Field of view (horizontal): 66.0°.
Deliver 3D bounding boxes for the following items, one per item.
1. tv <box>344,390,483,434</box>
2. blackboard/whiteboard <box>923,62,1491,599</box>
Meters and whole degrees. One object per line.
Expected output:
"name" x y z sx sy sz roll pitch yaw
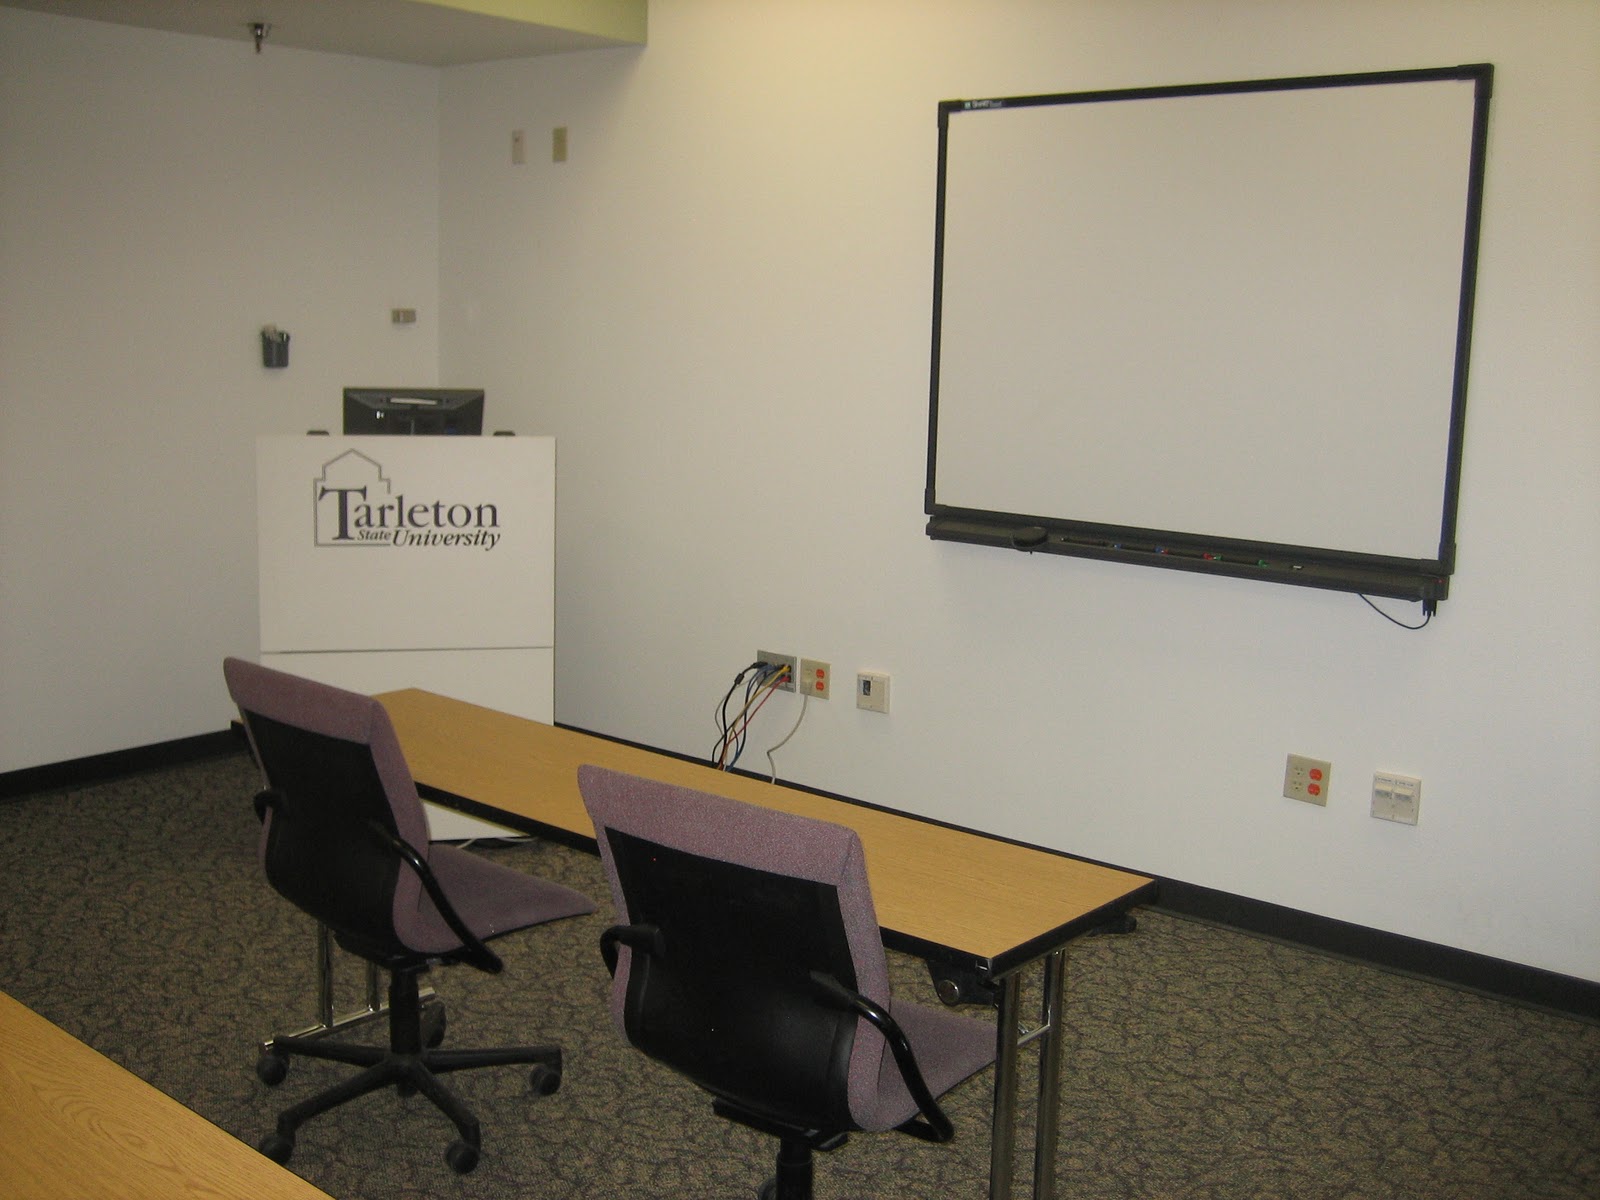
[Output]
"tv" -1.471 -0.712 4.664 0.490 0.153 0.153 0 17 -5
"blackboard/whiteboard" 1.356 -0.880 3.926 1.595 1.514 0.339 8 13 33
